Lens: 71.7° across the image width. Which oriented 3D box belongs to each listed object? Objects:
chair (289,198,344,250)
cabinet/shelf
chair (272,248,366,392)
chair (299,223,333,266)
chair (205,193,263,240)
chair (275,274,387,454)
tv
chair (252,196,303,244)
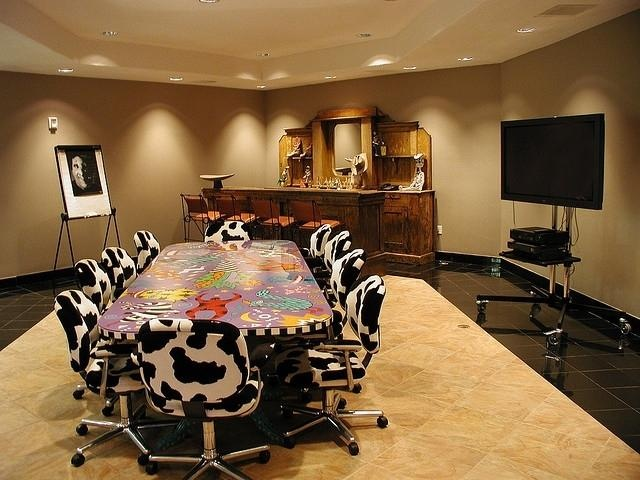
[{"bbox_3d":[-0.090,-0.134,6.830,0.534,0.959,0.595,5,12,31],"label":"chair"},{"bbox_3d":[1.496,-0.270,8.265,1.189,1.210,0.714,4,7,43],"label":"cabinet/shelf"},{"bbox_3d":[-0.043,0.498,3.446,0.865,1.360,0.927,1,3,-3],"label":"chair"},{"bbox_3d":[-0.022,0.059,5.062,0.420,0.531,0.401,-2,4,2],"label":"chair"},{"bbox_3d":[-1.307,-0.364,6.967,0.621,1.120,0.745,4,16,14],"label":"chair"},{"bbox_3d":[0.203,0.780,3.394,0.992,1.347,1.049,1,3,-9],"label":"chair"},{"bbox_3d":[2.667,-0.893,5.037,0.132,0.923,1.268,-4,4,-23],"label":"tv"},{"bbox_3d":[-0.804,-0.349,7.294,0.694,1.067,0.734,6,12,39],"label":"chair"}]
